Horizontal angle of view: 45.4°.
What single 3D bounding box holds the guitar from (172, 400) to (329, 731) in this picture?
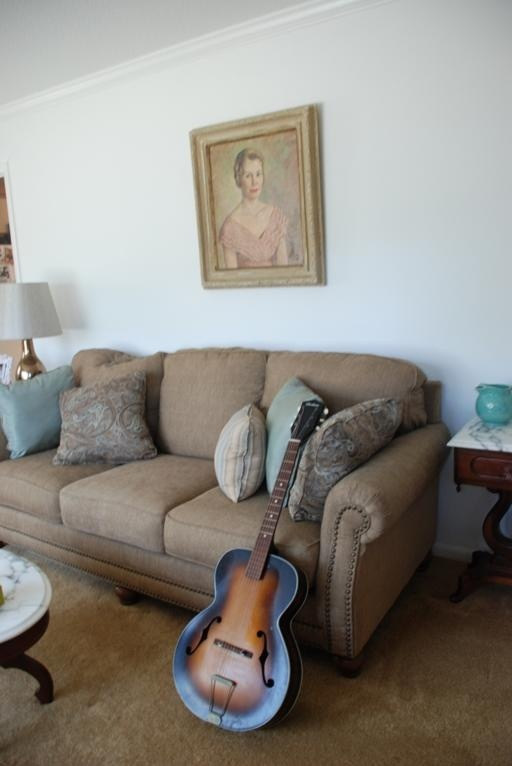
[{"bbox_3d":[0.008,0.505,1.575,0.261,0.673,0.089,13,-13,28],"label":"guitar"}]
